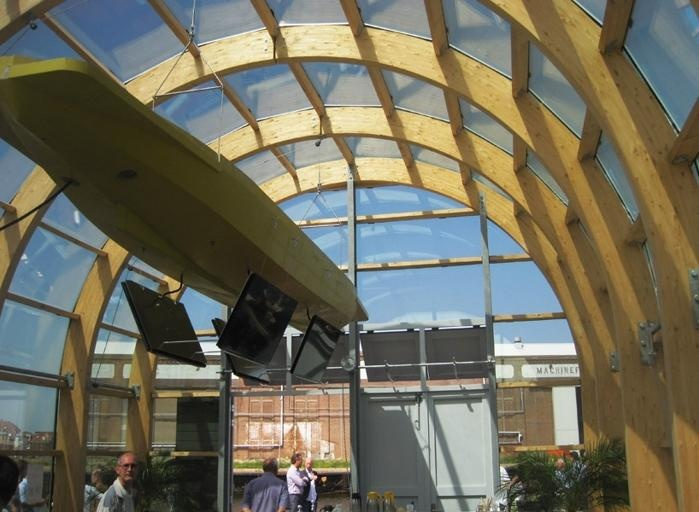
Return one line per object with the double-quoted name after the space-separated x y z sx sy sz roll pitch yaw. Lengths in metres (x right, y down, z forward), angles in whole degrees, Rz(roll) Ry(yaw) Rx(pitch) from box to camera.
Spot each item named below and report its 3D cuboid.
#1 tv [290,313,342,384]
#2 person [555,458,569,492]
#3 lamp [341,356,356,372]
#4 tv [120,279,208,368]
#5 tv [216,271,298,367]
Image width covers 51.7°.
-0.499 1.455 11.031 0.559 0.894 1.179 -5 -22 9 "tv"
3.218 3.302 10.896 0.192 0.490 0.770 -7 -23 15 "person"
-0.023 2.196 14.599 0.192 0.122 0.306 2 -43 2 "lamp"
-3.072 1.168 11.733 0.143 1.298 2.010 -24 -29 10 "tv"
-1.155 0.827 9.002 0.575 0.848 1.087 -12 -24 24 "tv"
